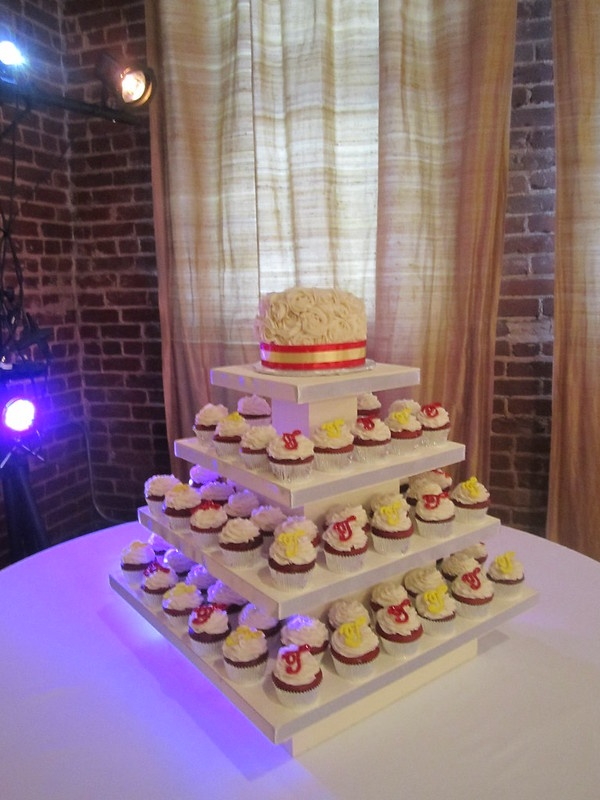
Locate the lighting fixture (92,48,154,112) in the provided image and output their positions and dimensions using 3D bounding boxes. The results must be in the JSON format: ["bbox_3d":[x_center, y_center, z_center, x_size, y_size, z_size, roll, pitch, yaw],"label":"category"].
[{"bbox_3d":[-0.511,-0.950,1.809,0.168,0.141,0.128,-3,12,-8],"label":"lighting fixture"}]

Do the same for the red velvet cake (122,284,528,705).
[{"bbox_3d":[0.035,0.112,1.275,0.707,0.715,0.791,0,14,0],"label":"red velvet cake"}]

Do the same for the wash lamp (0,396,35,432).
[{"bbox_3d":[-0.906,0.052,1.966,0.081,0.132,0.119,-4,12,-11],"label":"wash lamp"}]
